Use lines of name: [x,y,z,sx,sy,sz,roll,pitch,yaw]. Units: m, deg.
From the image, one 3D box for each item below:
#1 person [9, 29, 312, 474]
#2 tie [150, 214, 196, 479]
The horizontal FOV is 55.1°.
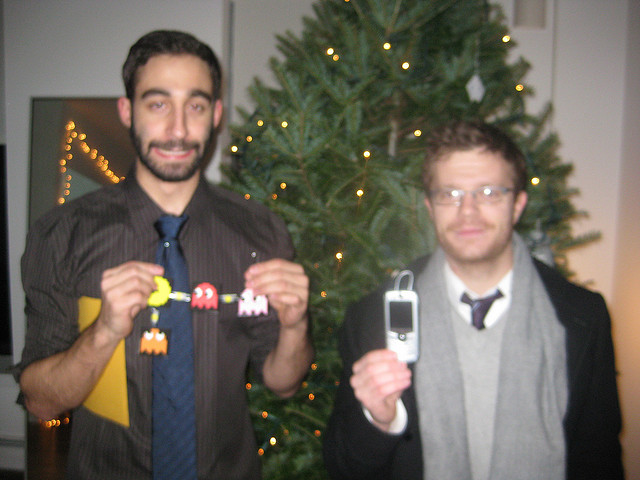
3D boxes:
person: [-0.780,0.080,3.056,1.431,2.204,0.542,-1,-1,-3]
tie: [-0.708,0.517,2.945,0.203,1.274,0.243,-1,-1,-16]
